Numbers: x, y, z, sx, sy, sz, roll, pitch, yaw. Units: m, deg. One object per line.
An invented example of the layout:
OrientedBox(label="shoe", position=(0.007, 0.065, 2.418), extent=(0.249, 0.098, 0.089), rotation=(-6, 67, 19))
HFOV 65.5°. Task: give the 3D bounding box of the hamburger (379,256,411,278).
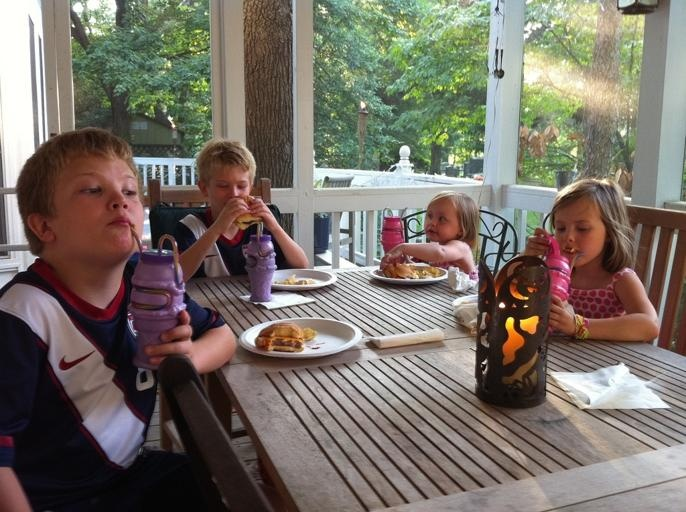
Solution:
OrientedBox(label="hamburger", position=(0.215, 0.045, 2.202), extent=(0.089, 0.051, 0.107), rotation=(-8, 4, -1))

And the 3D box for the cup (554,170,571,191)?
OrientedBox(label="cup", position=(1.527, -0.531, 3.709), extent=(0.137, 0.133, 0.130), rotation=(2, 8, 0))
